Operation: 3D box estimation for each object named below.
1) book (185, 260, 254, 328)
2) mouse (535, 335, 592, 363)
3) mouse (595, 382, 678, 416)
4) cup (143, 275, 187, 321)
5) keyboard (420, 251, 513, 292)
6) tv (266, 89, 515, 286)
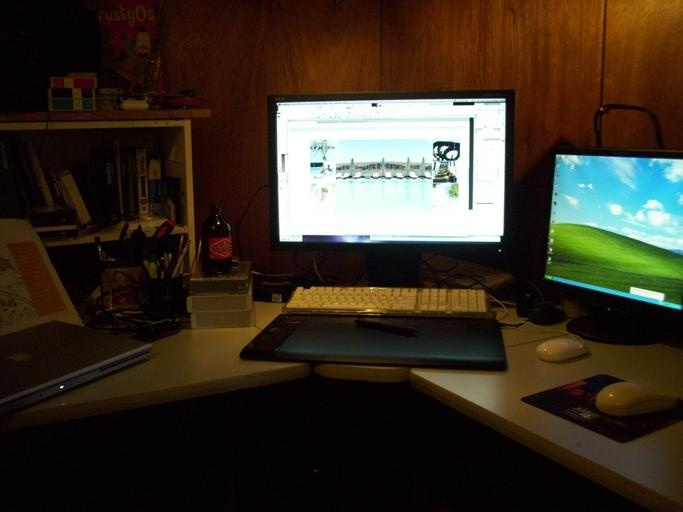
[{"bbox_3d":[-0.364,0.117,1.758,0.147,0.103,0.202,0,7,-2],"label":"book"},{"bbox_3d":[0.584,0.234,1.521,0.174,0.049,0.085,-15,20,-40],"label":"mouse"},{"bbox_3d":[0.645,0.311,1.256,0.135,0.045,0.080,0,3,3],"label":"mouse"},{"bbox_3d":[-0.526,0.129,1.755,0.116,0.118,0.116,-2,-8,0],"label":"cup"},{"bbox_3d":[0.407,0.060,1.973,0.236,0.056,0.142,8,12,22],"label":"keyboard"},{"bbox_3d":[0.167,-0.229,1.804,0.645,0.511,0.171,0,5,4],"label":"tv"}]
